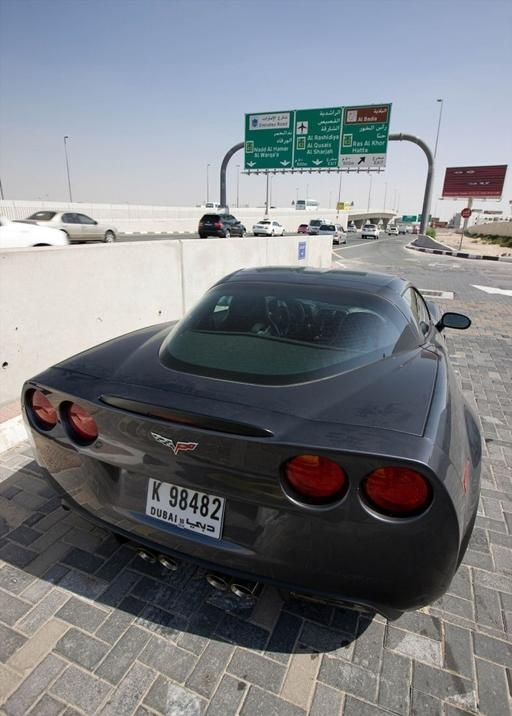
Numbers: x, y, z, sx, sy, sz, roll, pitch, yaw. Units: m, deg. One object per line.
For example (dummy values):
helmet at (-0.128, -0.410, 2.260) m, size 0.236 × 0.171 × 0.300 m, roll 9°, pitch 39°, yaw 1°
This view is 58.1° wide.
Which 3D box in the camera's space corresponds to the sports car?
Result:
sports car at (0.297, -0.146, 2.826) m, size 2.010 × 0.814 × 2.968 m, roll 6°, pitch 26°, yaw 17°
